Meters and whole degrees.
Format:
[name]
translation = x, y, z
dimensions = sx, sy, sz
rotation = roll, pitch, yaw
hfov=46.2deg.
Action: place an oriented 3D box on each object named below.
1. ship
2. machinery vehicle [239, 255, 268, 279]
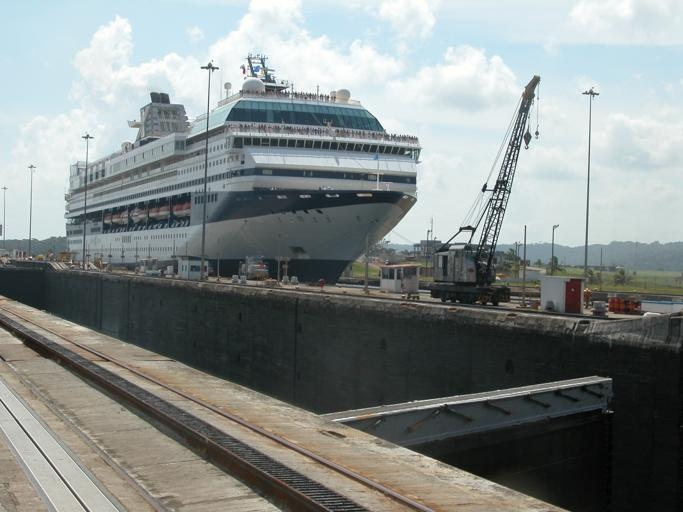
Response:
[ship]
translation = -9.371, -6.677, 73.660
dimensions = 14.710, 19.268, 59.418
rotation = 1, 0, -45
[machinery vehicle]
translation = -6.310, 0.854, 57.490
dimensions = 1.743, 1.803, 1.808
rotation = 0, 2, 3
